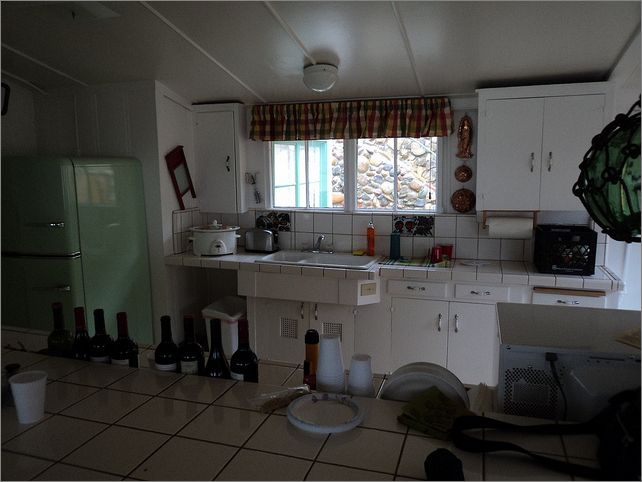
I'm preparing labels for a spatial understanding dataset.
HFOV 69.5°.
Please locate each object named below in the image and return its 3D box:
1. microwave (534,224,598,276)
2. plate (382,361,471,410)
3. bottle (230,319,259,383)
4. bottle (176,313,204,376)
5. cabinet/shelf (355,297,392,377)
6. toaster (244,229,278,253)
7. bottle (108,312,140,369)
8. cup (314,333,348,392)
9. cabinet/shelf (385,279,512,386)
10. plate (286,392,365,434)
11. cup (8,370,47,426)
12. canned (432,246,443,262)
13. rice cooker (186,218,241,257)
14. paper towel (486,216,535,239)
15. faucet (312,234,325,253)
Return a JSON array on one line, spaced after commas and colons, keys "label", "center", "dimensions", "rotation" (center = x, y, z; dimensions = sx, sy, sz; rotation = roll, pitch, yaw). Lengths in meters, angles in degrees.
[{"label": "microwave", "center": [1.793, 0.066, 3.408], "dimensions": [0.382, 0.332, 0.341], "rotation": [3, 8, 24]}, {"label": "plate", "center": [0.369, 0.523, 1.673], "dimensions": [0.321, 0.145, 0.107], "rotation": [2, 8, 20]}, {"label": "bottle", "center": [-0.304, 0.415, 1.815], "dimensions": [0.112, 0.310, 0.348], "rotation": [-2, 8, -8]}, {"label": "bottle", "center": [-0.521, 0.405, 1.840], "dimensions": [0.109, 0.268, 0.107], "rotation": [8, 12, -2]}, {"label": "cabinet/shelf", "center": [0.420, 0.738, 3.680], "dimensions": [0.266, 0.562, 0.377], "rotation": [5, 9, 8]}, {"label": "toaster", "center": [-0.544, -0.005, 4.222], "dimensions": [0.312, 0.250, 0.195], "rotation": [3, 4, 18]}, {"label": "bottle", "center": [-0.817, 0.401, 1.916], "dimensions": [0.111, 0.271, 0.260], "rotation": [-4, 8, -26]}, {"label": "cup", "center": [0.038, 0.454, 1.724], "dimensions": [0.109, 0.232, 0.119], "rotation": [0, 7, 0]}, {"label": "cabinet/shelf", "center": [0.877, 0.578, 3.075], "dimensions": [0.792, 0.821, 0.322], "rotation": [1, 3, 16]}, {"label": "plate", "center": [0.014, 0.587, 1.576], "dimensions": [0.255, 0.052, 0.171], "rotation": [1, 8, 10]}, {"label": "cup", "center": [-1.019, 0.542, 1.610], "dimensions": [0.105, 0.167, 0.118], "rotation": [-6, 9, -36]}, {"label": "canned", "center": [0.909, 0.117, 3.716], "dimensions": [0.095, 0.150, 0.113], "rotation": [0, -2, -13]}, {"label": "rice cooker", "center": [-0.919, -0.021, 3.999], "dimensions": [0.390, 0.302, 0.198], "rotation": [-2, 8, -12]}, {"label": "paper towel", "center": [1.456, -0.097, 3.570], "dimensions": [0.336, 0.175, 0.151], "rotation": [2, 8, 19]}, {"label": "faucet", "center": [-0.027, 0.027, 4.201], "dimensions": [0.119, 0.161, 0.130], "rotation": [1, 8, 7]}]
